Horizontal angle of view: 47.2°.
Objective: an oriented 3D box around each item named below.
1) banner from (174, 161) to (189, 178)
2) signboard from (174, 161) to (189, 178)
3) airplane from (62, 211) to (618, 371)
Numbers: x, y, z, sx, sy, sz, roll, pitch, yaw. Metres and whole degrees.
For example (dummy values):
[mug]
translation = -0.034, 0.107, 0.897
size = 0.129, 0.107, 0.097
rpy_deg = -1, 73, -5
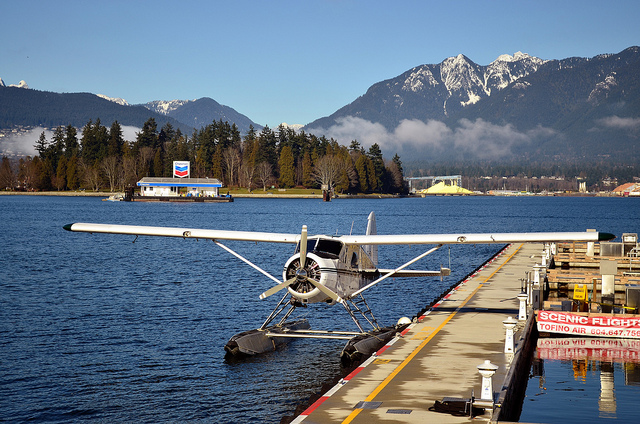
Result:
[banner]
translation = -25.261, -7.713, 133.740
size = 3.010, 3.278, 0.152
rpy_deg = -2, 15, -10
[signboard]
translation = -25.235, -7.736, 133.724
size = 2.961, 3.218, 0.136
rpy_deg = -1, 14, -10
[airplane]
translation = -0.056, 2.371, 41.203
size = 26.704, 5.283, 36.530
rpy_deg = -3, 2, -20
